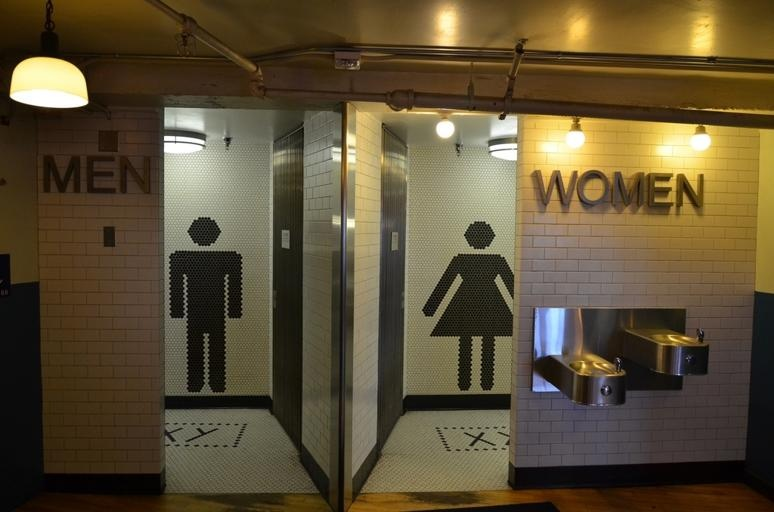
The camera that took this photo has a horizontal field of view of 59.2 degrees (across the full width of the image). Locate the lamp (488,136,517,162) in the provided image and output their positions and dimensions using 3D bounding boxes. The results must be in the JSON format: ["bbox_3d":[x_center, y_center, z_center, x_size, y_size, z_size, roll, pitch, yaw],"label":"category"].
[{"bbox_3d":[1.383,-1.291,8.107,0.323,0.247,0.367,0,5,5],"label":"lamp"}]

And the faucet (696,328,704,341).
[{"bbox_3d":[3.125,0.782,6.756,0.058,0.121,0.233,2,6,19],"label":"faucet"}]

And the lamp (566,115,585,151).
[{"bbox_3d":[1.882,-1.237,6.783,0.161,0.280,0.222,1,5,14],"label":"lamp"}]

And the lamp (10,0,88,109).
[{"bbox_3d":[-2.675,-1.623,5.293,0.493,0.886,0.573,-5,7,-43],"label":"lamp"}]
